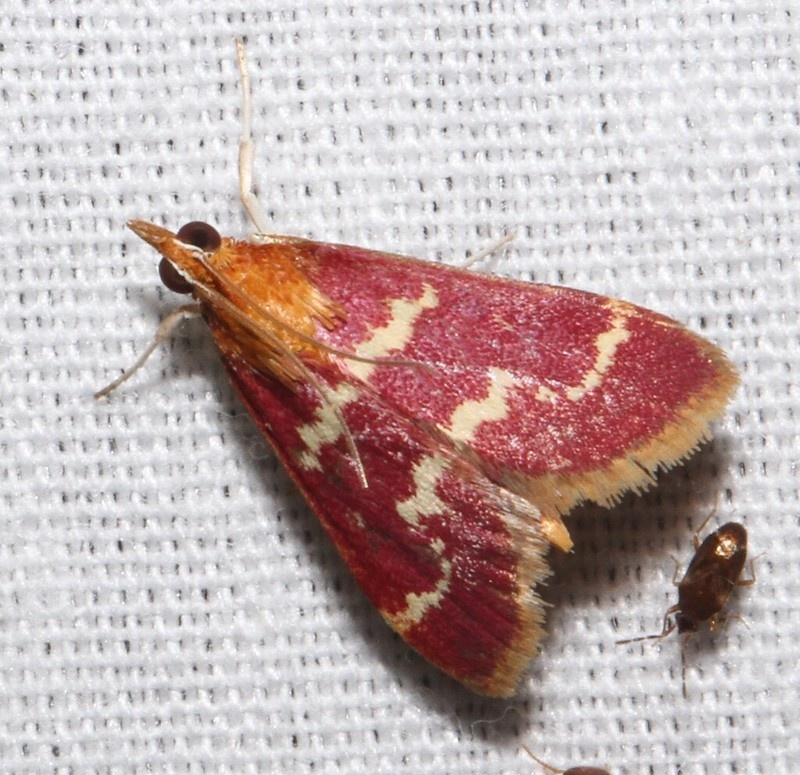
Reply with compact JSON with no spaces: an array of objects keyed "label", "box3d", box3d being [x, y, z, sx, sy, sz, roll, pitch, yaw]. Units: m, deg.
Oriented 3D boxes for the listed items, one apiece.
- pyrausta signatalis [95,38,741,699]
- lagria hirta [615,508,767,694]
[{"label":"pyrausta signatalis","box3d":[0.177,0.045,2.508,0.752,0.462,0.939,-27,65,-13]},{"label":"lagria hirta","box3d":[0.571,0.419,2.662,0.313,0.470,0.260,8,108,18]}]
